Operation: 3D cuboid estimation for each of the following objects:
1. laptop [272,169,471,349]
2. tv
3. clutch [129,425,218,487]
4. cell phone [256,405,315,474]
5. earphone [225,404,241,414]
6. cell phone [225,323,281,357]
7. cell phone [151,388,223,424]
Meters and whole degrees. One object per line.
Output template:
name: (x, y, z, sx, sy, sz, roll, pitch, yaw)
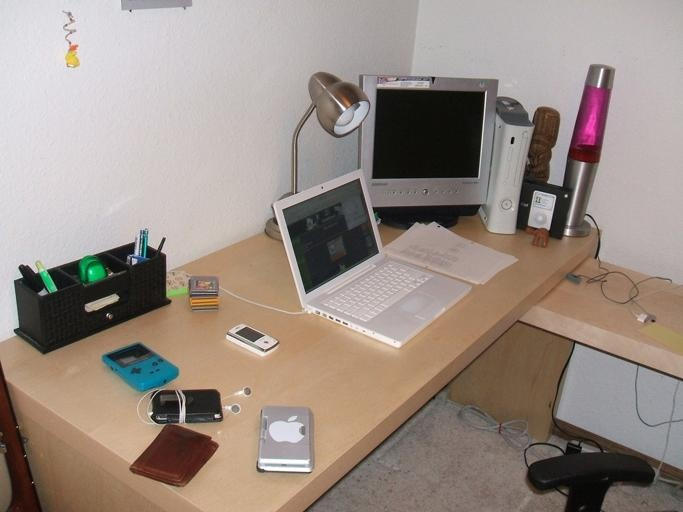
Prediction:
laptop: (0.050, 0.035, 1.611, 0.506, 0.371, 0.498, 28, 42, 32)
tv: (0.299, -0.372, 1.924, 0.462, 0.551, 0.212, -5, 20, -16)
clutch: (-0.325, 0.395, 1.089, 0.118, 0.026, 0.118, 13, 33, 22)
cell phone: (-0.104, 0.360, 1.119, 0.087, 0.028, 0.118, 2, 27, -1)
earphone: (-0.233, 0.332, 1.201, 0.024, 0.006, 0.017, 0, 35, -2)
cell phone: (-0.206, 0.195, 1.375, 0.115, 0.028, 0.063, 22, 29, 25)
cell phone: (-0.328, 0.319, 1.183, 0.105, 0.036, 0.081, 2, 25, -8)
